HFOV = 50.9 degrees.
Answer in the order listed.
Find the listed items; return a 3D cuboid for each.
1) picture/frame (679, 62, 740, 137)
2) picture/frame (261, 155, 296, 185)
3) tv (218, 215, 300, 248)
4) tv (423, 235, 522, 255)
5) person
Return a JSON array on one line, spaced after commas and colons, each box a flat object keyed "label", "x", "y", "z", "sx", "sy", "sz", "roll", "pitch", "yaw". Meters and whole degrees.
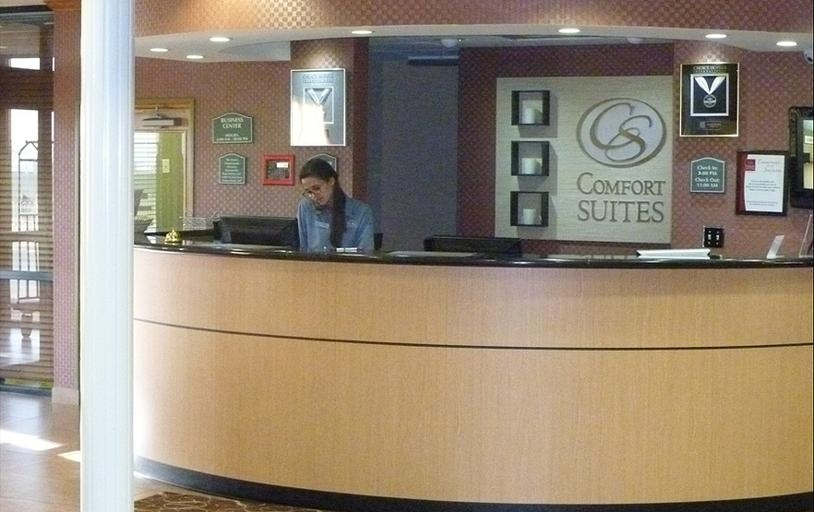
[{"label": "picture/frame", "x": 2.824, "y": -1.437, "z": 7.880, "sx": 0.802, "sy": 0.855, "sz": 0.038, "roll": 2, "pitch": 4, "yaw": 17}, {"label": "picture/frame", "x": -1.298, "y": -0.873, "z": 8.678, "sx": 0.357, "sy": 0.280, "sz": 0.034, "roll": 2, "pitch": 2, "yaw": 22}, {"label": "tv", "x": -1.245, "y": -0.183, "z": 7.156, "sx": 0.655, "sy": 0.282, "sz": 0.457, "roll": -1, "pitch": 12, "yaw": -5}, {"label": "tv", "x": 0.470, "y": -0.077, "z": 6.377, "sx": 0.740, "sy": 0.123, "sz": 0.168, "roll": 4, "pitch": 12, "yaw": 18}, {"label": "person", "x": -0.651, "y": -0.413, "z": 7.046, "sx": 0.775, "sy": 0.773, "sz": 0.250, "roll": 6, "pitch": 14, "yaw": 26}]
